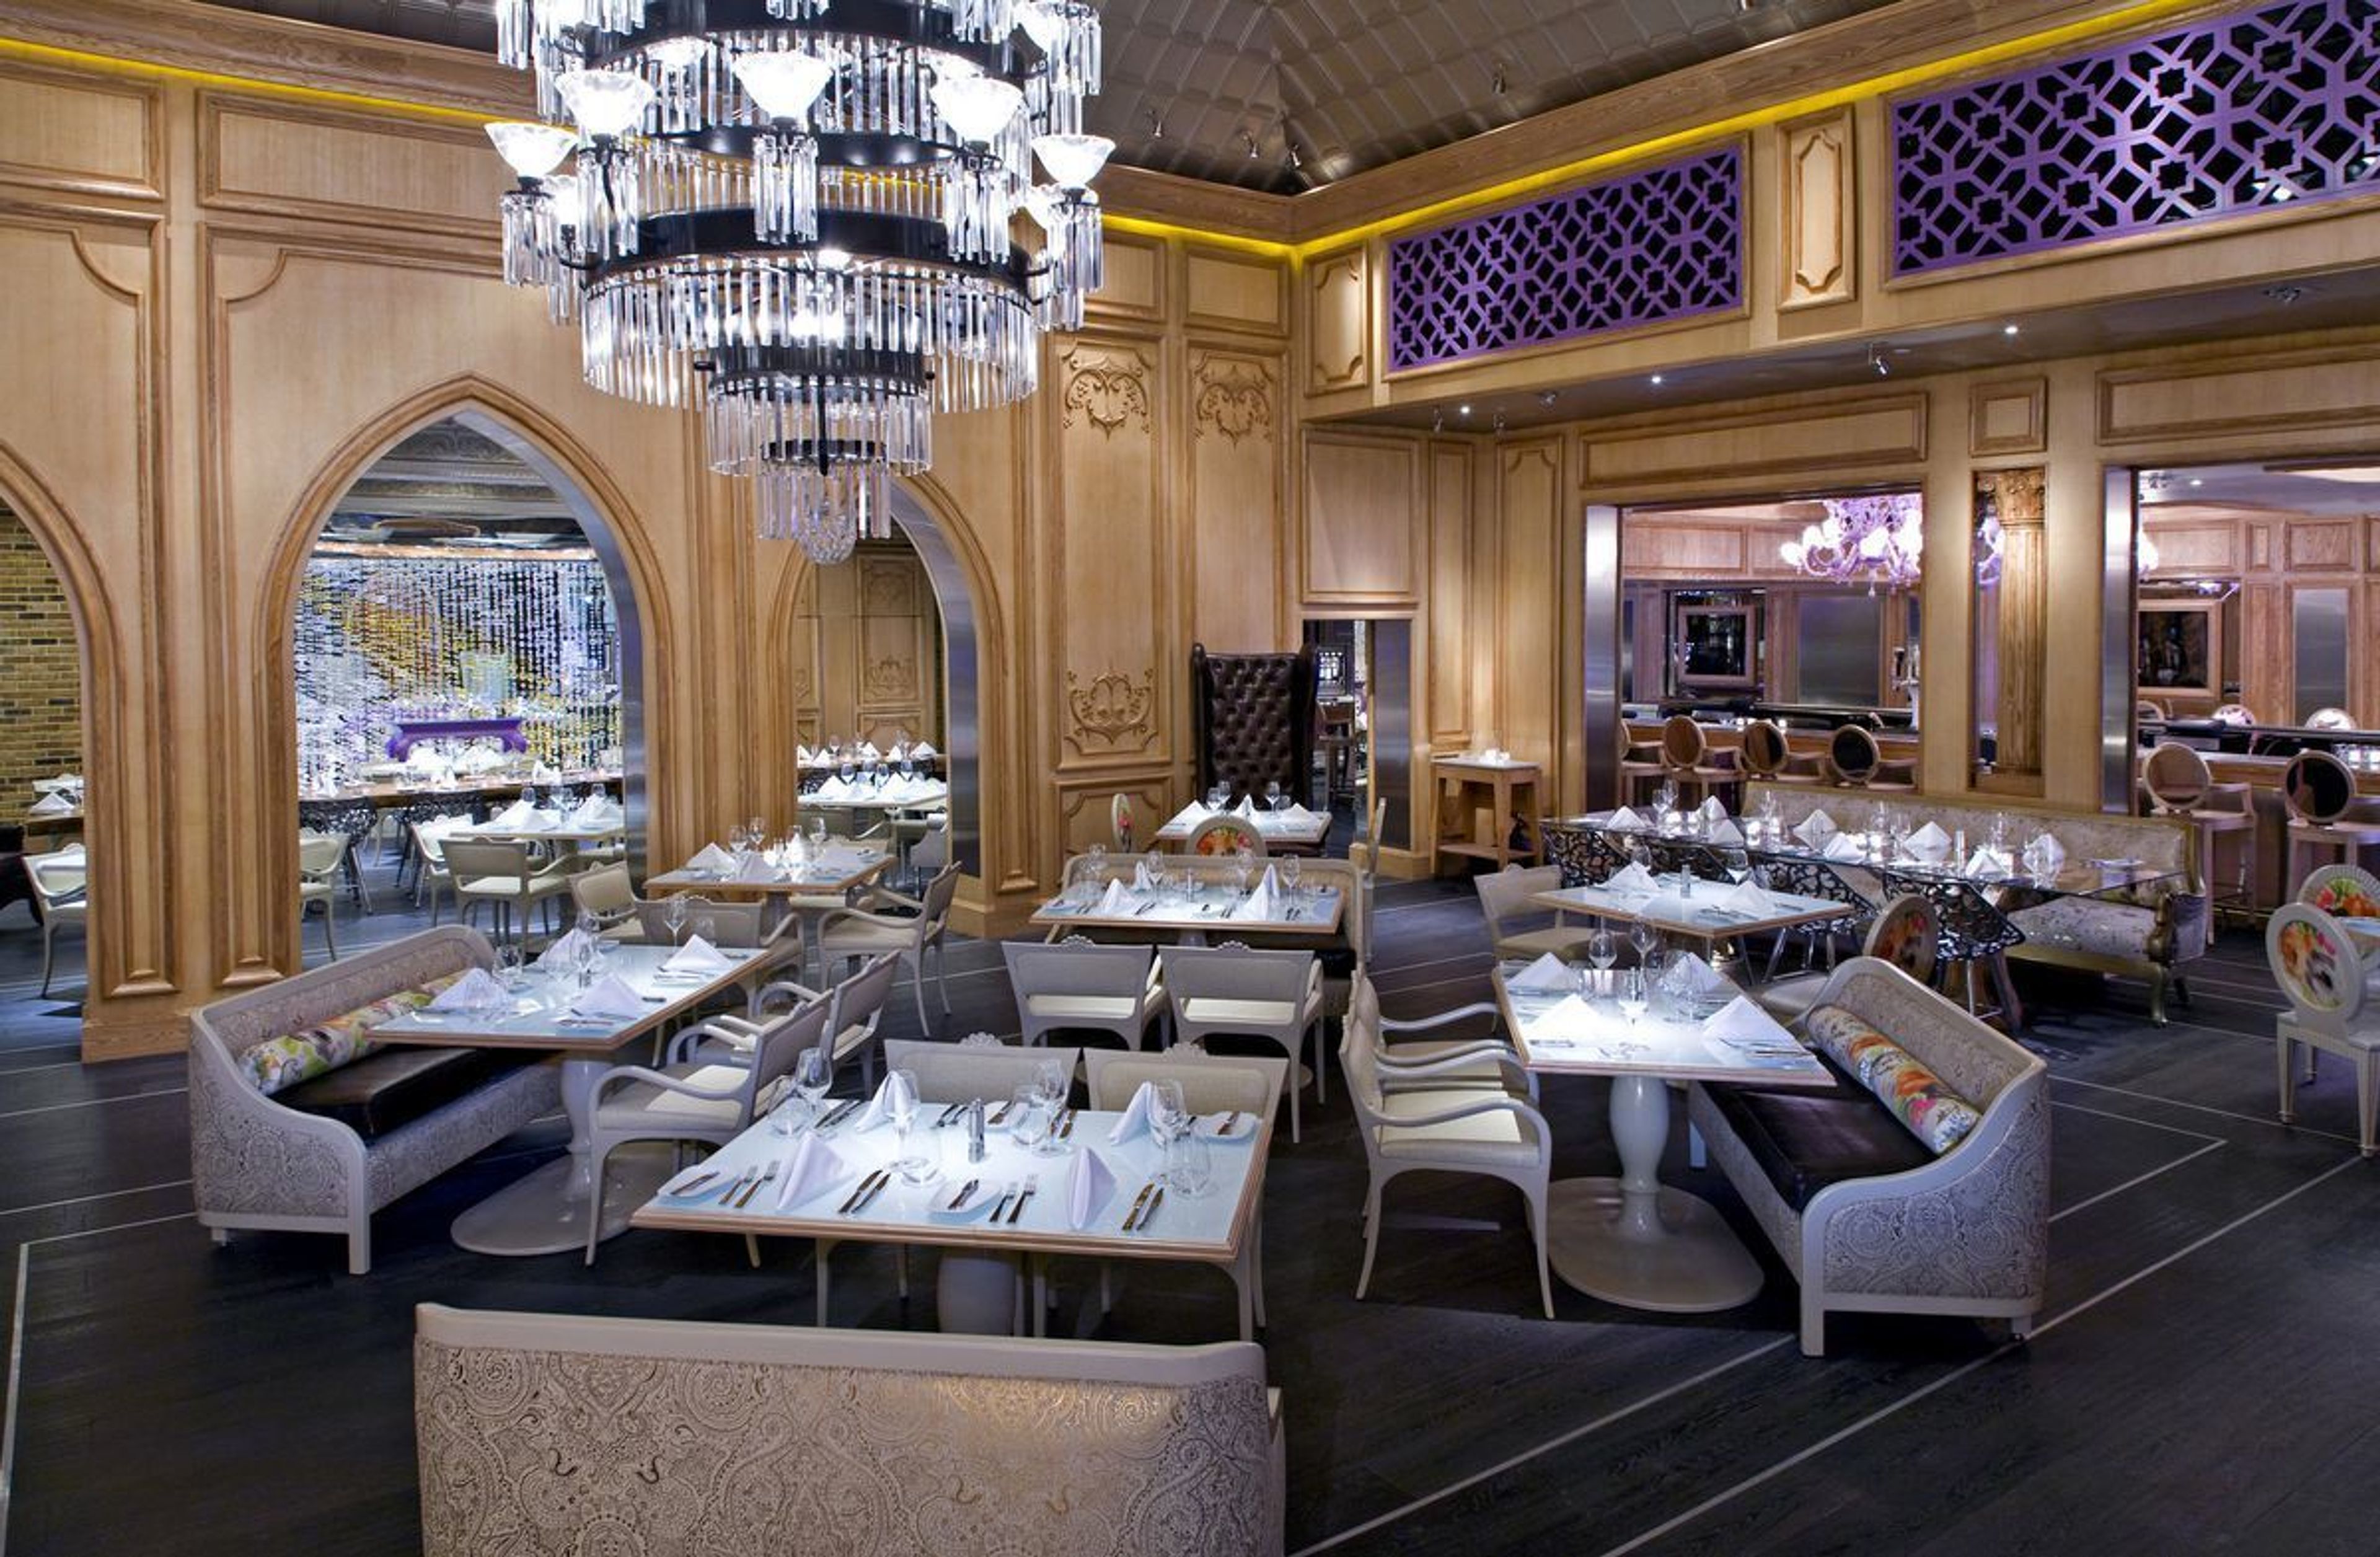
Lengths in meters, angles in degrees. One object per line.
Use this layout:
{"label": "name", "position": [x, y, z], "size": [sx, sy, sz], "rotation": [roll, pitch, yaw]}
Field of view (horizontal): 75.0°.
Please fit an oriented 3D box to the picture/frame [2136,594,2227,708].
{"label": "picture/frame", "position": [10.626, -1.397, 16.629], "size": [0.351, 1.197, 0.850], "rotation": [-4, 6, -31]}
